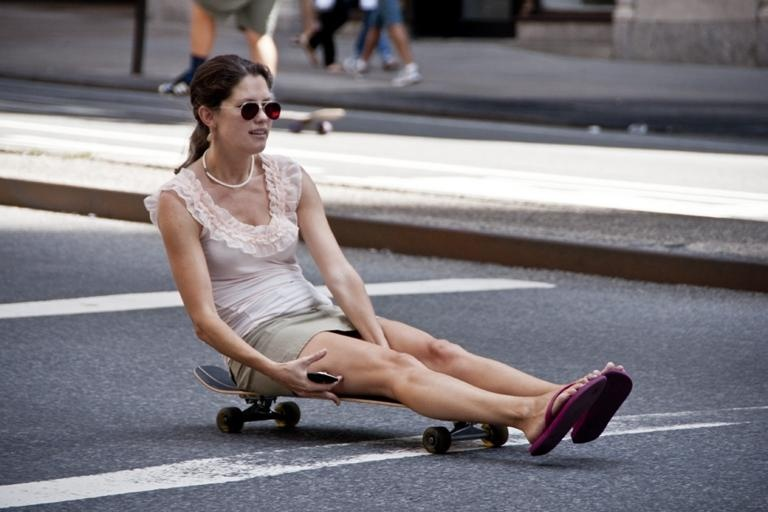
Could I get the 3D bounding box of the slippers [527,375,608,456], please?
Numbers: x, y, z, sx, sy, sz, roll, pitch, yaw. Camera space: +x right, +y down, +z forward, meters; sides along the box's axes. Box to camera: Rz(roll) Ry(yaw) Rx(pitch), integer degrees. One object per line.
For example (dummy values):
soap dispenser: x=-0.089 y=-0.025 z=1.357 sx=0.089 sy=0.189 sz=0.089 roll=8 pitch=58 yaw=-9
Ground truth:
slippers: x=0.859 y=0.749 z=5.258 sx=0.140 sy=0.533 sz=0.201 roll=51 pitch=10 yaw=36

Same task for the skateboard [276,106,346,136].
skateboard: x=-0.562 y=-1.535 z=12.450 sx=0.301 sy=0.197 sz=1.202 roll=0 pitch=2 yaw=34

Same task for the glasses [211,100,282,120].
glasses: x=-0.655 y=-0.777 z=5.802 sx=0.190 sy=0.056 sz=0.181 roll=-2 pitch=2 yaw=44

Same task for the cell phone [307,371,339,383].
cell phone: x=-0.310 y=0.605 z=5.555 sx=0.132 sy=0.063 sz=0.025 roll=-1 pitch=59 yaw=20
